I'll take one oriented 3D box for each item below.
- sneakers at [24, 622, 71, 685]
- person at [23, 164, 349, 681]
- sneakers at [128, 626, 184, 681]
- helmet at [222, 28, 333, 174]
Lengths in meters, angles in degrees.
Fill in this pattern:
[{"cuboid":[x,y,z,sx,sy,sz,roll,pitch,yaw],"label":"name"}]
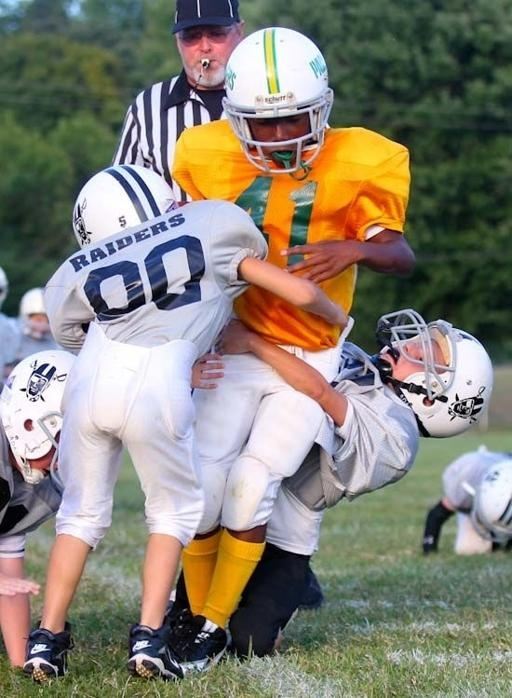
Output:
[{"cuboid":[-0.556,0.811,2.349,0.119,0.190,0.155,0,18,-9],"label":"sneakers"},{"cuboid":[-0.353,0.214,2.511,0.768,1.225,0.944,10,19,21],"label":"person"},{"cuboid":[-0.246,0.787,2.274,0.090,0.201,0.092,-10,52,14],"label":"sneakers"},{"cuboid":[0.072,-0.810,2.865,0.349,0.465,0.324,3,18,-1],"label":"helmet"}]
